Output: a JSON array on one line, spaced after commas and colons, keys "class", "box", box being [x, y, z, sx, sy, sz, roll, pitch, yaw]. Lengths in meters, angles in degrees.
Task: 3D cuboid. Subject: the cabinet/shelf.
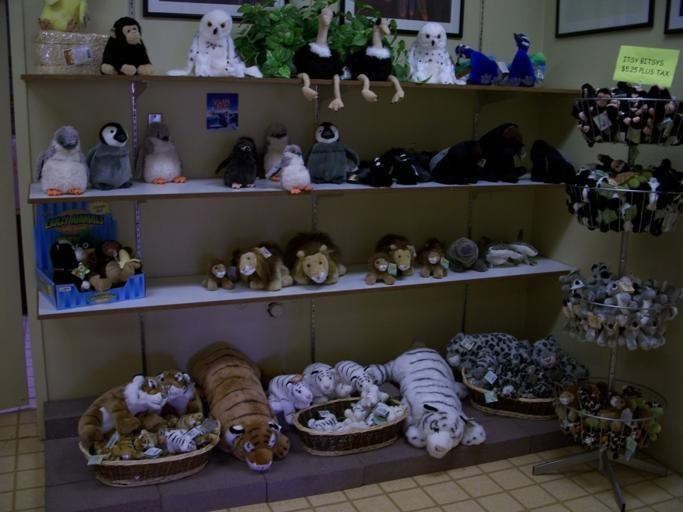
[{"class": "cabinet/shelf", "box": [-0.003, 0.054, 2.846, 2.803, 1.783, 1.400, -7, 17, -28]}]
